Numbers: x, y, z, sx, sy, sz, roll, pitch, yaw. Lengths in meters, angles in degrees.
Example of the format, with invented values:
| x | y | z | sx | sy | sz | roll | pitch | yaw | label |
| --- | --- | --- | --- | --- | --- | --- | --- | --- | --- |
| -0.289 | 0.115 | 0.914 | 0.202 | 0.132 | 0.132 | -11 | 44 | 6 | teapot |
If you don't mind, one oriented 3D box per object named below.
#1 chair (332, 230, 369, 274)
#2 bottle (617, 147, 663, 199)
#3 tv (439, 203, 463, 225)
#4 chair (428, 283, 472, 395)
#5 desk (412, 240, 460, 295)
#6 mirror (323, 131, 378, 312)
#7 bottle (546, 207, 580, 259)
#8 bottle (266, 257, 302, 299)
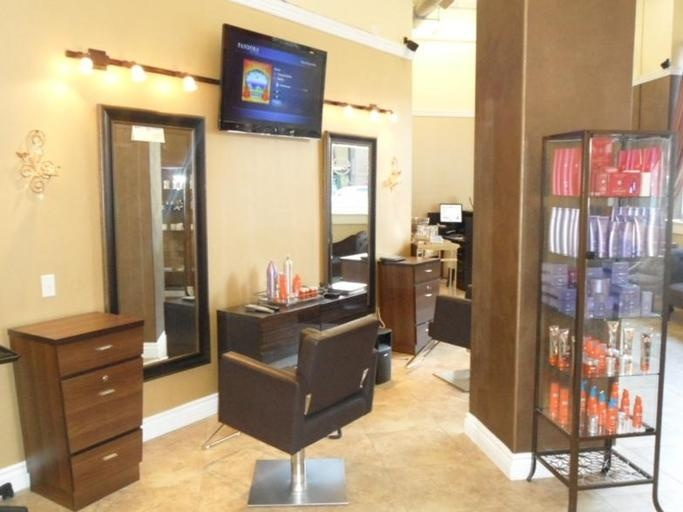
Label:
| x | y | z | sx | sy | sz | roll | pitch | yaw | label |
| --- | --- | --- | --- | --- | --- | --- | --- | --- | --- |
| 0.073 | -0.043 | 5.749 | 0.135 | 0.288 | 0.418 | 5 | 11 | 36 | chair |
| 1.787 | -0.505 | 3.309 | 0.226 | 0.290 | 0.110 | -3 | 13 | -12 | bottle |
| 1.987 | -0.731 | 10.038 | 0.388 | 0.344 | 0.051 | 0 | 3 | 2 | tv |
| 1.007 | 0.790 | 5.148 | 0.383 | 0.856 | 0.642 | 2 | 13 | 11 | chair |
| 1.326 | 0.178 | 7.802 | 0.810 | 0.789 | 0.656 | -1 | 9 | -7 | desk |
| 0.115 | -0.335 | 5.757 | 0.264 | 1.845 | 0.880 | 9 | 16 | 34 | mirror |
| 1.379 | -0.139 | 3.423 | 0.033 | 0.317 | 0.286 | -4 | 9 | -24 | bottle |
| -0.489 | 0.189 | 4.933 | 0.353 | 0.543 | 0.288 | -2 | 8 | -5 | bottle |
